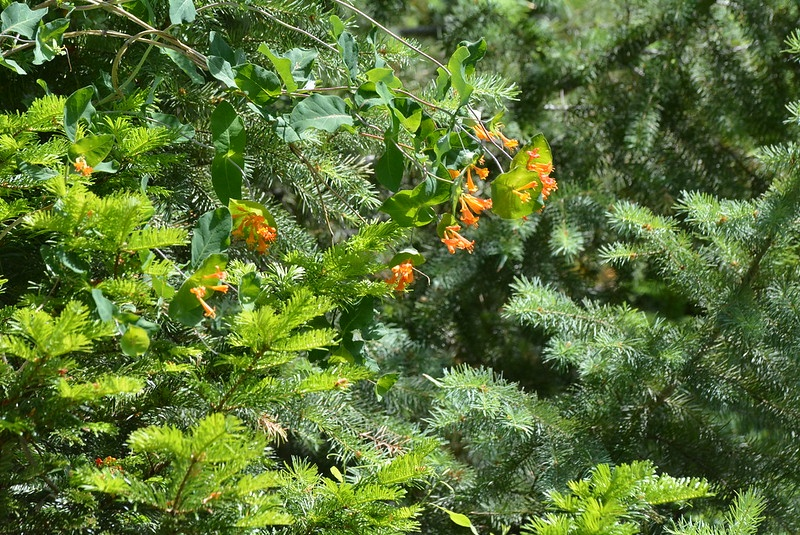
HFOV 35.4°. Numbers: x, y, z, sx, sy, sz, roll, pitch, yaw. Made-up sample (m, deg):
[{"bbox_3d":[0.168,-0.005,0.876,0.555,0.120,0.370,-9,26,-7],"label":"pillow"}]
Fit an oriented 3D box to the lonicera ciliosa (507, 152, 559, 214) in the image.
[{"bbox_3d":[0.277,-0.183,2.622,0.046,0.116,0.087,20,61,30],"label":"lonicera ciliosa"}]
